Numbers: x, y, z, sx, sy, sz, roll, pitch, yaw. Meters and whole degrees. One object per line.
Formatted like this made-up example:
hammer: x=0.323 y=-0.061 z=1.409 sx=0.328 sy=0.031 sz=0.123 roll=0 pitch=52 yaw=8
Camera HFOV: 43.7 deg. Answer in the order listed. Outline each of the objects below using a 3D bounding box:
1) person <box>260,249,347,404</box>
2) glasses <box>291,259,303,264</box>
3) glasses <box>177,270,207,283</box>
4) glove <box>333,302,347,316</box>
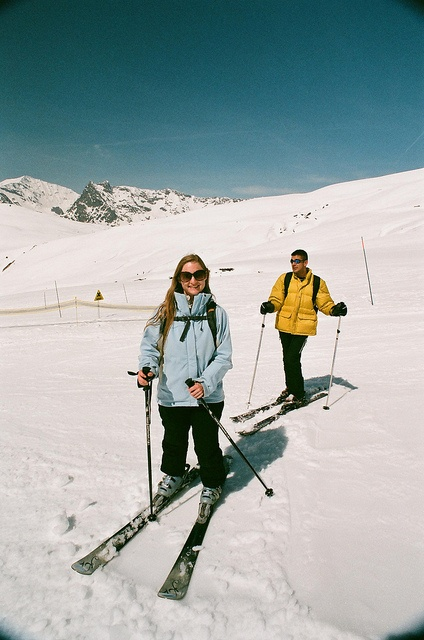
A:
person: x=1.169 y=0.067 z=6.950 sx=0.970 sy=1.964 sz=0.551 roll=-2 pitch=9 yaw=15
glasses: x=1.076 y=-0.757 z=6.791 sx=0.063 sy=0.060 sz=0.184 roll=-8 pitch=9 yaw=-25
glasses: x=-0.157 y=-0.406 z=4.756 sx=0.261 sy=0.103 sz=0.154 roll=-5 pitch=9 yaw=-13
glove: x=1.600 y=-0.126 z=6.698 sx=0.173 sy=0.212 sz=0.322 roll=-2 pitch=9 yaw=13
